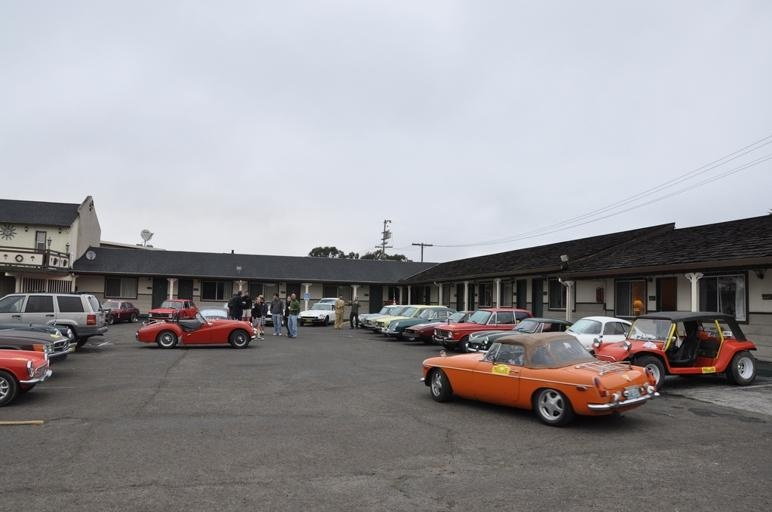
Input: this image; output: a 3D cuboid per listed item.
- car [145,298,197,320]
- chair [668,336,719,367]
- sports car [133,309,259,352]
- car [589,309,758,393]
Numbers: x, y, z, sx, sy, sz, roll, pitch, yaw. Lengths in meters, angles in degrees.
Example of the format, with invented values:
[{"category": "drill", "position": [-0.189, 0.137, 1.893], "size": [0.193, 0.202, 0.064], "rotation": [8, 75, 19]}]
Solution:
[{"category": "car", "position": [-12.216, 3.021, 28.098], "size": [1.734, 1.130, 2.798], "rotation": [-2, -8, 11]}, {"category": "chair", "position": [7.611, 2.297, 12.410], "size": [1.229, 0.538, 0.672], "rotation": [-16, 4, -13]}, {"category": "sports car", "position": [-6.920, 2.796, 18.294], "size": [3.324, 0.891, 1.708], "rotation": [-1, -1, -12]}, {"category": "car", "position": [7.378, 2.258, 12.456], "size": [3.167, 1.242, 1.936], "rotation": [-5, 6, -2]}]
